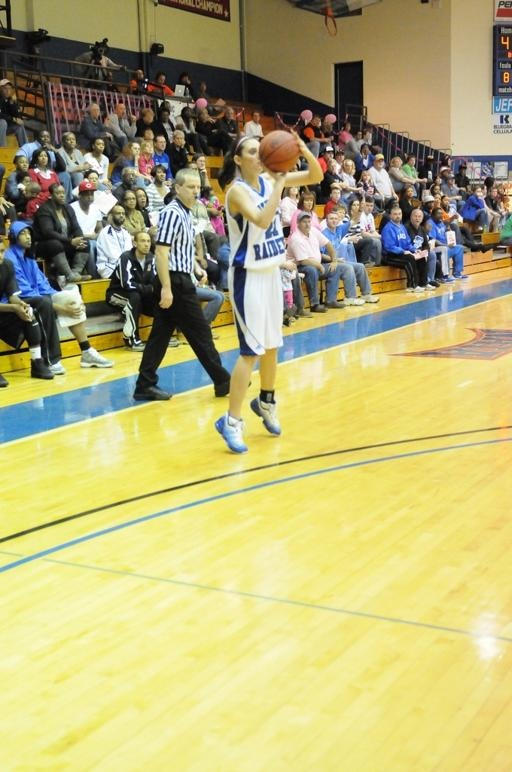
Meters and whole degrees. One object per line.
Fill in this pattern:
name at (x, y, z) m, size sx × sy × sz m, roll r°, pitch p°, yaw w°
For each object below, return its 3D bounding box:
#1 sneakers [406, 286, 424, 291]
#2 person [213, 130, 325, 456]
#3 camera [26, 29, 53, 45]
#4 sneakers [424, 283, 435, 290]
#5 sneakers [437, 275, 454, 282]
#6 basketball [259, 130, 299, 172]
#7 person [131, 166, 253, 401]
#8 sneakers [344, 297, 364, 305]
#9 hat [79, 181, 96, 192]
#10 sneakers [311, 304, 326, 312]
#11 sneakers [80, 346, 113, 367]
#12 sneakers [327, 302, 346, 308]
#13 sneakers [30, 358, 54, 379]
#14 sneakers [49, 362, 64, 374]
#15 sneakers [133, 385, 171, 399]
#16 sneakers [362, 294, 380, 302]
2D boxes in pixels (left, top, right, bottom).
sneakers at (2.804, -1.725, 10.972) m, size 0.253 × 0.109 × 0.096 m, roll 2°, pitch 15°, yaw 18°
person at (0.045, -0.474, 3.407) m, size 0.666 × 1.676 × 0.540 m, roll 10°, pitch 17°, yaw 44°
camera at (-5.045, -8.132, 14.397) m, size 0.420 × 0.365 × 0.630 m, roll -11°, pitch 15°, yaw -38°
sneakers at (3.134, -1.781, 11.154) m, size 0.178 × 0.098 × 0.293 m, roll 4°, pitch 13°, yaw 23°
sneakers at (3.702, -2.050, 11.913) m, size 0.340 × 0.117 × 0.168 m, roll -9°, pitch 14°, yaw -31°
basketball at (0.115, -1.175, 3.093) m, size 0.198 × 0.219 × 0.164 m, roll -3°, pitch 12°, yaw -5°
person at (-0.507, -0.708, 4.568) m, size 0.805 × 1.698 × 0.547 m, roll 8°, pitch 13°, yaw 20°
sneakers at (1.529, -1.329, 9.692) m, size 0.319 × 0.146 × 0.114 m, roll -2°, pitch 43°, yaw 0°
hat at (-2.092, -2.448, 7.601) m, size 0.135 × 0.094 × 0.179 m, roll -12°, pitch 17°, yaw -34°
sneakers at (0.920, -1.151, 9.132) m, size 0.196 × 0.111 × 0.106 m, roll 1°, pitch 18°, yaw 14°
sneakers at (-1.567, -0.287, 6.085) m, size 0.377 × 0.237 × 0.144 m, roll 1°, pitch 19°, yaw -3°
sneakers at (1.228, -1.234, 9.517) m, size 0.284 × 0.127 × 0.092 m, roll -4°, pitch 18°, yaw -8°
sneakers at (-1.945, -0.157, 5.633) m, size 0.145 × 0.181 × 0.234 m, roll -11°, pitch 15°, yaw -37°
sneakers at (-1.838, -0.152, 5.732) m, size 0.171 × 0.078 × 0.064 m, roll 8°, pitch 15°, yaw 39°
sneakers at (-0.801, 0.066, 4.808) m, size 0.288 × 0.126 × 0.105 m, roll -3°, pitch 11°, yaw -7°
sneakers at (1.842, -1.407, 9.974) m, size 0.311 × 0.140 × 0.114 m, roll 7°, pitch 30°, yaw 31°
